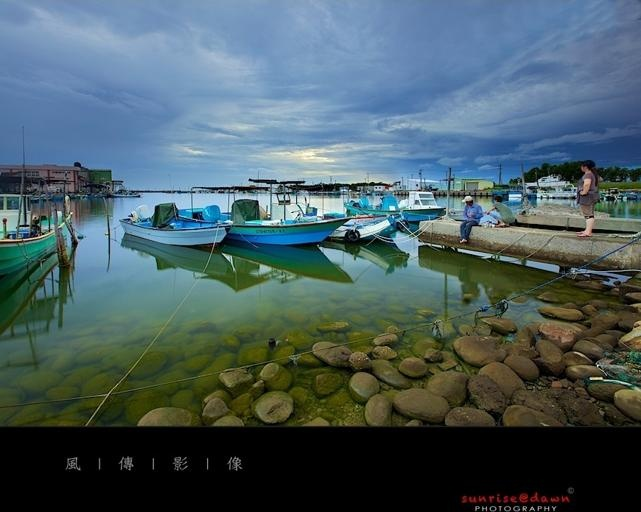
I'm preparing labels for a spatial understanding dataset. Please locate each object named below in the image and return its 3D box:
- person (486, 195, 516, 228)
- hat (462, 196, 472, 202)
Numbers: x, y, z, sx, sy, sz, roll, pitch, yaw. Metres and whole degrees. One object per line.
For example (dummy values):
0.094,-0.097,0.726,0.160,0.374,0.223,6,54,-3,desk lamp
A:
6.372,-1.598,14.450,0.891,1.396,1.209,-7,22,6,person
5.068,-1.992,13.938,0.226,0.208,0.679,1,7,19,hat
